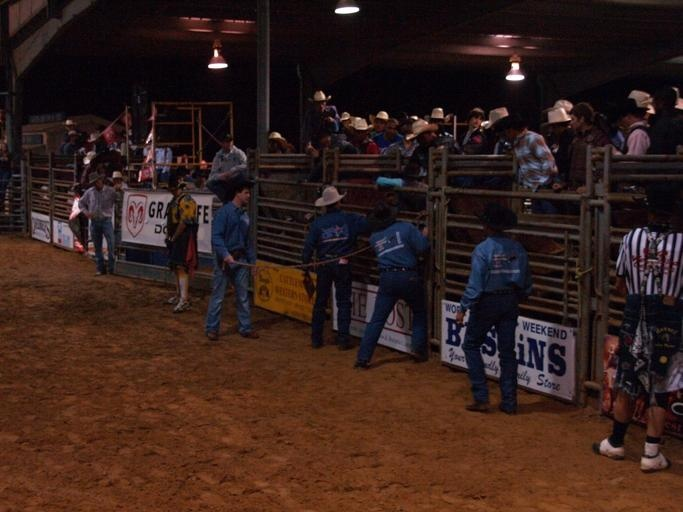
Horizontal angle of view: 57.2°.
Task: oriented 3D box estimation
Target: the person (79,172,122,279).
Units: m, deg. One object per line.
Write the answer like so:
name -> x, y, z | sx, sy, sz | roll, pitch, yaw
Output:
person -> -5.598, -0.754, 14.622 | 0.807, 2.359, 0.881 | -5, 11, -24

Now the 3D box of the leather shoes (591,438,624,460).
leather shoes -> 2.469, 1.796, 5.830 | 0.121, 0.126, 0.271 | -7, 10, -43

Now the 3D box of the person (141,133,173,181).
person -> -4.994, -2.605, 16.788 | 0.861, 1.333, 2.030 | -3, 10, -17

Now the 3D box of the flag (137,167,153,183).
flag -> -5.419, -2.231, 17.331 | 0.472, 0.478, 0.263 | 0, -10, -36

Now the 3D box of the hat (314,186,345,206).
hat -> -0.122, -0.898, 9.159 | 0.332, 0.140, 0.372 | -10, 19, 23

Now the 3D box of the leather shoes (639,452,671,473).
leather shoes -> 2.742, 1.824, 5.575 | 0.300, 0.174, 0.113 | -7, 7, -20

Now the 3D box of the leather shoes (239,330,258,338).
leather shoes -> -1.457, 1.234, 9.830 | 0.295, 0.115, 0.102 | 0, 4, 0

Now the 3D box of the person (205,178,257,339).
person -> -1.726, 0.076, 9.661 | 0.750, 2.426, 0.771 | -2, 11, -9

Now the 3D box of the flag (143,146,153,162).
flag -> -5.307, -2.811, 17.200 | 0.155, 0.417, 0.990 | -4, 10, -20

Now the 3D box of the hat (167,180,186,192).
hat -> -2.908, -1.247, 11.099 | 0.276, 0.200, 0.198 | -3, 10, -16

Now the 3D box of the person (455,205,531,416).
person -> 1.679, 0.574, 6.857 | 0.725, 2.257, 0.494 | 3, 11, 15

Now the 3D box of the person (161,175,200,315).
person -> -2.881, -0.215, 11.352 | 0.603, 2.373, 0.971 | -3, 11, -15

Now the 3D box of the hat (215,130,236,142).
hat -> -2.432, -2.460, 13.141 | 0.295, 0.256, 0.928 | -1, 9, -7

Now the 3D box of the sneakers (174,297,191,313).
sneakers -> -2.864, 0.907, 11.247 | 0.156, 0.195, 0.449 | -1, -5, 14

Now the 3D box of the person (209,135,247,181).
person -> -2.351, -1.919, 12.906 | 0.899, 1.061, 0.716 | -10, 23, -15

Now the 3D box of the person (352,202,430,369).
person -> 0.700, 0.412, 8.337 | 0.953, 2.148, 0.549 | 1, 10, 4

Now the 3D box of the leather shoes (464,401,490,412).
leather shoes -> 1.511, 1.666, 6.901 | 0.218, 0.089, 0.112 | 2, 5, 14

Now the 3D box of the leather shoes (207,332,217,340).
leather shoes -> -1.981, 1.248, 9.653 | 0.205, 0.068, 0.082 | 10, -18, -19
